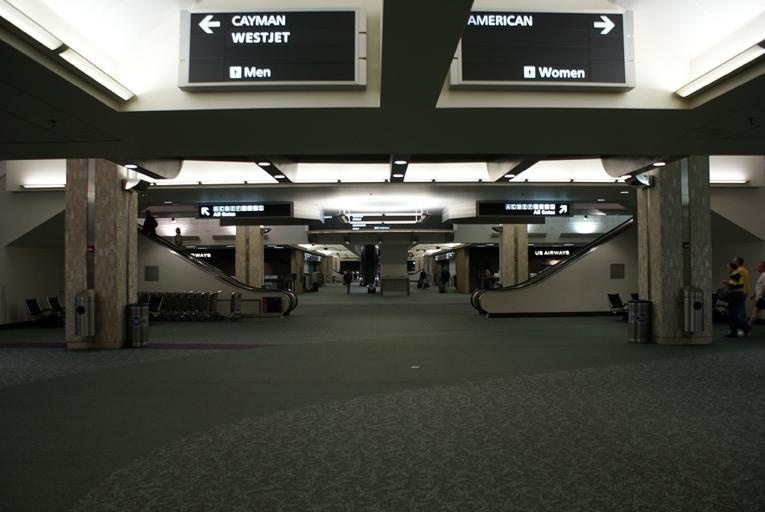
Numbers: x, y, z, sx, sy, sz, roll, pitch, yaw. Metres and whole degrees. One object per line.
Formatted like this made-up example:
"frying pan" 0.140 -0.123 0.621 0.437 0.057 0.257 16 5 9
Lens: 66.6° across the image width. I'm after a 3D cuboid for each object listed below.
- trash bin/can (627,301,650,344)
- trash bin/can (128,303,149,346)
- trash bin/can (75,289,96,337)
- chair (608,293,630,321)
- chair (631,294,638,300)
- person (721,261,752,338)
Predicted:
"trash bin/can" 5.800 1.478 13.182 0.485 0.934 0.382 1 5 18
"trash bin/can" -5.424 1.529 12.834 0.425 0.905 0.265 -2 5 -17
"trash bin/can" -6.389 1.254 12.518 0.380 1.052 0.272 -1 4 -6
"chair" 7.330 1.623 18.330 0.496 0.890 2.014 1 5 20
"chair" 8.040 1.294 18.648 0.276 0.205 0.245 -1 2 -4
"person" 8.529 1.018 14.058 0.511 1.850 0.741 2 5 31
